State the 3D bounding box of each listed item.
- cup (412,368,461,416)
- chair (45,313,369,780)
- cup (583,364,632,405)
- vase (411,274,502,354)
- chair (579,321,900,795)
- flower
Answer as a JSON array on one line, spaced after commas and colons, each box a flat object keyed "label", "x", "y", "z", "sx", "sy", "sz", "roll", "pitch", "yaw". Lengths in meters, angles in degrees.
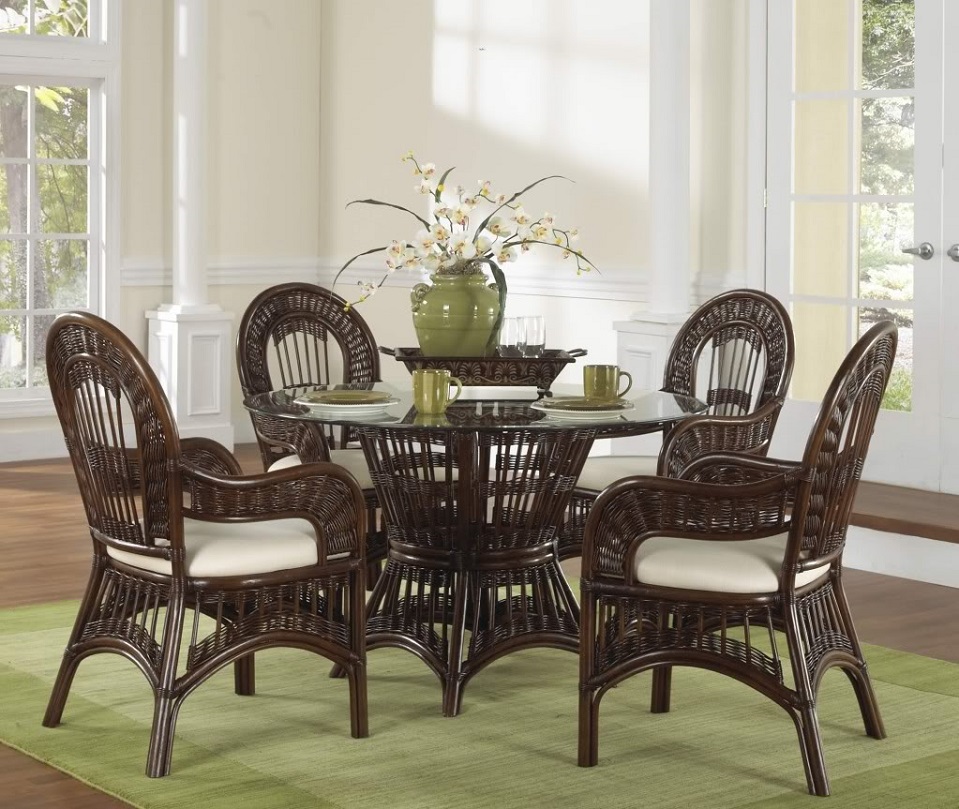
[{"label": "cup", "x": -0.116, "y": -0.032, "z": 2.156, "sx": 0.109, "sy": 0.124, "sz": 0.158, "roll": 1, "pitch": -2, "yaw": 2}, {"label": "chair", "x": -0.634, "y": 0.313, "z": 2.009, "sx": 0.700, "sy": 0.699, "sz": 0.590, "roll": 8, "pitch": -9, "yaw": -24}, {"label": "cup", "x": 0.347, "y": -0.053, "z": 2.271, "sx": 0.196, "sy": 0.116, "sz": 0.107, "roll": 1, "pitch": 2, "yaw": 16}, {"label": "vase", "x": -0.060, "y": -0.269, "z": 2.581, "sx": 0.311, "sy": 0.221, "sz": 0.244, "roll": 9, "pitch": 22, "yaw": 25}, {"label": "chair", "x": 0.572, "y": 0.301, "z": 1.890, "sx": 0.623, "sy": 0.952, "sz": 0.624, "roll": 0, "pitch": -2, "yaw": 22}, {"label": "flower", "x": -0.047, "y": -0.453, "z": 2.546, "sx": 0.693, "sy": 0.182, "sz": 0.472, "roll": -4, "pitch": 39, "yaw": 6}]
